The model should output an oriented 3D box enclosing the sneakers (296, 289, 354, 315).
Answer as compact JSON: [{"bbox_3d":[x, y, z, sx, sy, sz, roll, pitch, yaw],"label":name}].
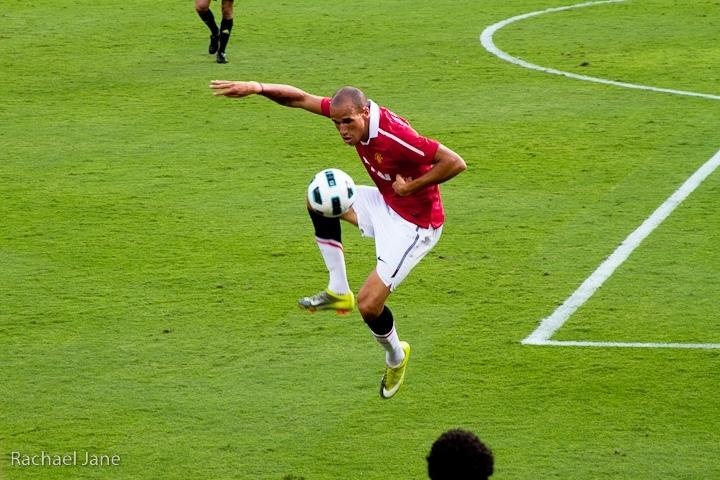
[{"bbox_3d":[-0.376,0.605,12.399,0.682,0.224,0.184,3,26,-2],"label":"sneakers"}]

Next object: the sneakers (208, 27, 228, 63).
[{"bbox_3d":[-2.122,-2.926,18.844,0.278,0.503,0.259,-3,21,-4],"label":"sneakers"}]
